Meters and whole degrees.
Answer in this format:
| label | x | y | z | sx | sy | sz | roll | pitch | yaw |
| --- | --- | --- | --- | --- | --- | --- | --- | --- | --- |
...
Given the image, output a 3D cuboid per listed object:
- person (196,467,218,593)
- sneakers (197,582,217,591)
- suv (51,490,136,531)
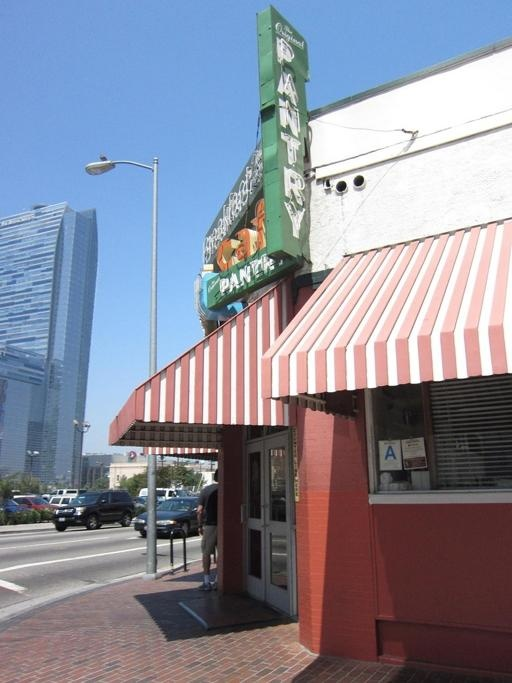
| label | x | y | z | sx | sy | sz | roll | pitch | yaw |
| --- | --- | --- | --- | --- | --- | --- | --- | --- | --- |
| person | -0.818 | 3.195 | 9.365 | 0.352 | 1.971 | 1.318 | -1 | -11 | -6 |
| sneakers | -0.831 | 4.104 | 9.211 | 0.297 | 0.146 | 0.113 | 3 | -13 | -6 |
| suv | -7.602 | 8.095 | 26.057 | 1.734 | 1.626 | 3.725 | -18 | -25 | 23 |
